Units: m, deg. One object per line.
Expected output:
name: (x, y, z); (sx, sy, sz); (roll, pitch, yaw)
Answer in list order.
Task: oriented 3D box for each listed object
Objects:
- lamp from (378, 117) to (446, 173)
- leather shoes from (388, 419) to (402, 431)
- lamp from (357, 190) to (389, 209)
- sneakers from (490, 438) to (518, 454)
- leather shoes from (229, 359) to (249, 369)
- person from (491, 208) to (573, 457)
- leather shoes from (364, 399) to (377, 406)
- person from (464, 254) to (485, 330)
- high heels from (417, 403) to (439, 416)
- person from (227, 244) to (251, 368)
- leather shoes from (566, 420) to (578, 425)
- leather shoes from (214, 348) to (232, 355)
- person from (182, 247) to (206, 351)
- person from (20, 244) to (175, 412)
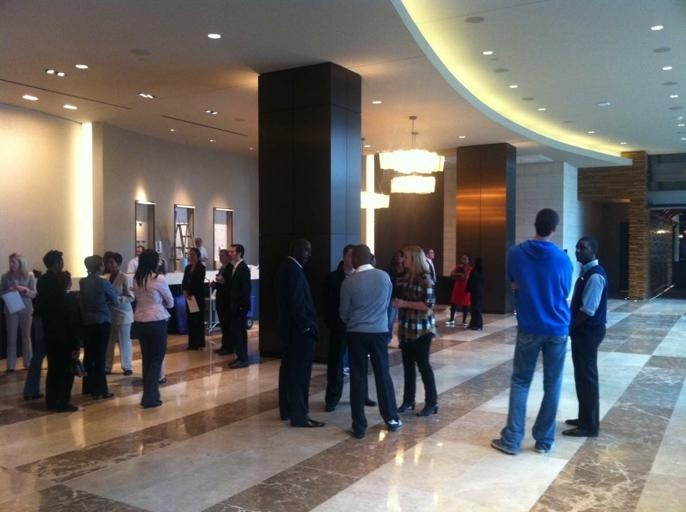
lamp: (1.622, -2.427, 13.223); (1.320, 1.245, 1.372); (0, 3, 1)
leather shoes: (0.580, 1.862, 6.319); (0.084, 0.127, 0.180); (3, 7, 19)
lamp: (0.931, -1.689, 17.047); (0.948, 0.462, 0.407); (-6, 5, -38)
sneakers: (1.653, 1.941, 5.831); (0.094, 0.105, 0.234); (-9, 20, -30)
leather shoes: (-1.673, 1.740, 9.097); (0.338, 0.152, 0.117); (6, -8, -21)
person: (1.948, 0.775, 5.763); (0.738, 2.464, 0.395); (-1, 4, 20)
leather shoes: (0.353, 1.854, 7.184); (0.157, 0.115, 0.063); (-3, 3, 4)
person: (3.094, 0.832, 13.283); (0.355, 1.607, 1.268); (-2, 4, 12)
high heels: (1.027, 1.838, 6.874); (0.233, 0.129, 0.125); (-1, 0, -28)
person: (-1.705, 0.799, 9.306); (0.385, 1.933, 0.726); (-4, 4, -11)
leather shoes: (2.627, 1.900, 6.504); (0.154, 0.065, 0.057); (-9, -3, 33)
leather shoes: (-2.175, 1.701, 10.125); (0.341, 0.154, 0.120); (-3, -3, 20)
person: (-2.714, 0.780, 10.415); (0.373, 1.857, 0.438); (-4, 4, -17)
person: (-3.519, 0.911, 7.425); (0.966, 1.963, 0.957); (0, 5, 34)
